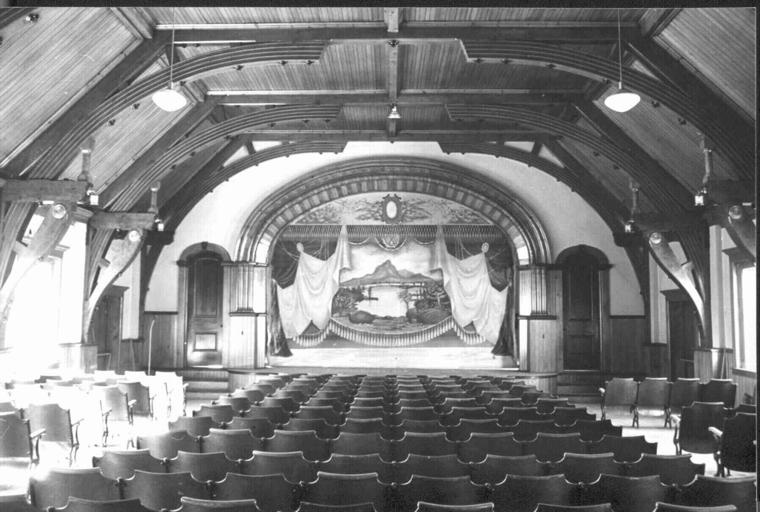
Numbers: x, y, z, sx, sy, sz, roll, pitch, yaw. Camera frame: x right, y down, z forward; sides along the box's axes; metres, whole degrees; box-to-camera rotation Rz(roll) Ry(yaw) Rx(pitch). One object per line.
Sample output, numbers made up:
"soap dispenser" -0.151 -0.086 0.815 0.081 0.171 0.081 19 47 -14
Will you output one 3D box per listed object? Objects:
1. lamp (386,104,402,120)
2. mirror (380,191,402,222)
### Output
"lamp" 0.287 -2.965 20.072 0.359 0.396 0.348 1 3 8
"mirror" 0.302 -1.319 25.706 0.722 1.126 0.058 0 2 -5
